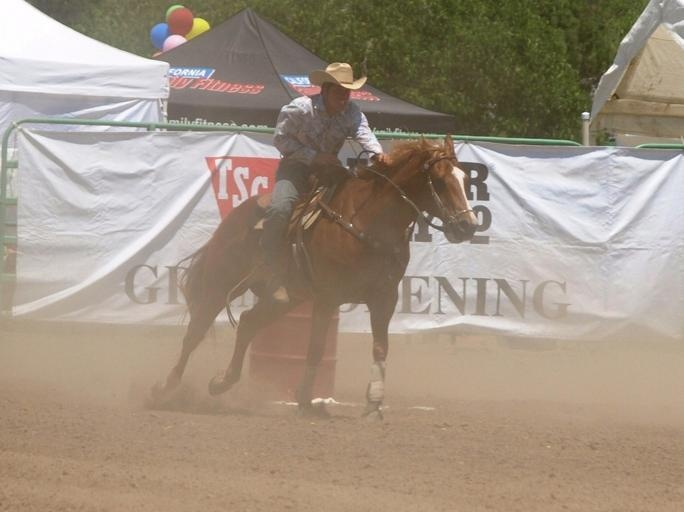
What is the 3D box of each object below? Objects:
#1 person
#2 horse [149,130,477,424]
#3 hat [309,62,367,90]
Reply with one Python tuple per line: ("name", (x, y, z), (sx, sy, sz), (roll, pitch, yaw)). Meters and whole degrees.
("person", (-0.091, -0.908, 8.480), (1.168, 2.052, 0.960), (5, 16, 19))
("horse", (-0.308, 0.295, 8.493), (4.031, 2.674, 1.048), (-5, -8, 38))
("hat", (-0.056, -1.827, 8.250), (0.560, 0.262, 0.467), (2, 12, -2))
